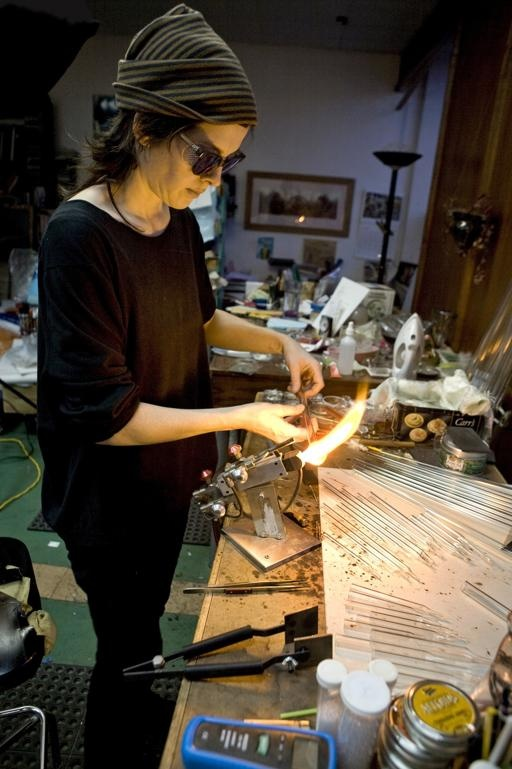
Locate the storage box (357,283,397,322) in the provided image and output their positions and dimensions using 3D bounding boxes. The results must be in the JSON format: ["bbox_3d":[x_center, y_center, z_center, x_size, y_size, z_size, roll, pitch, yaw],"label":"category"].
[{"bbox_3d":[0.705,-0.471,3.278,0.273,0.233,0.245,0,11,-1],"label":"storage box"}]

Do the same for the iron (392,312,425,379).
[{"bbox_3d":[0.667,-0.173,2.472,0.131,0.270,0.197,4,16,5],"label":"iron"}]

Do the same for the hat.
[{"bbox_3d":[-0.168,-0.622,1.150,0.301,0.200,0.217,27,40,19],"label":"hat"}]

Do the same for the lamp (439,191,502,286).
[{"bbox_3d":[1.095,-0.755,2.876,0.174,0.410,0.241,0,13,7],"label":"lamp"}]
